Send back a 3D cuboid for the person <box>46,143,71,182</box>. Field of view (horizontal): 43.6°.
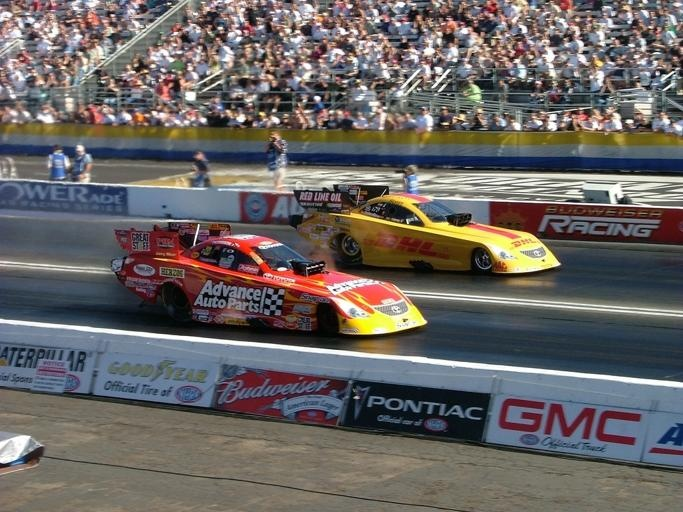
[{"bbox_3d":[-9.120,-3.053,27.768,0.651,1.240,1.597,5,3,-17],"label":"person"}]

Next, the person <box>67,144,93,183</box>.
[{"bbox_3d":[-8.508,-3.045,27.985,0.637,1.221,1.304,5,4,-17],"label":"person"}]

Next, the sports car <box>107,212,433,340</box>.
[{"bbox_3d":[-1.361,0.388,15.038,5.054,1.713,1.173,4,3,25],"label":"sports car"}]
